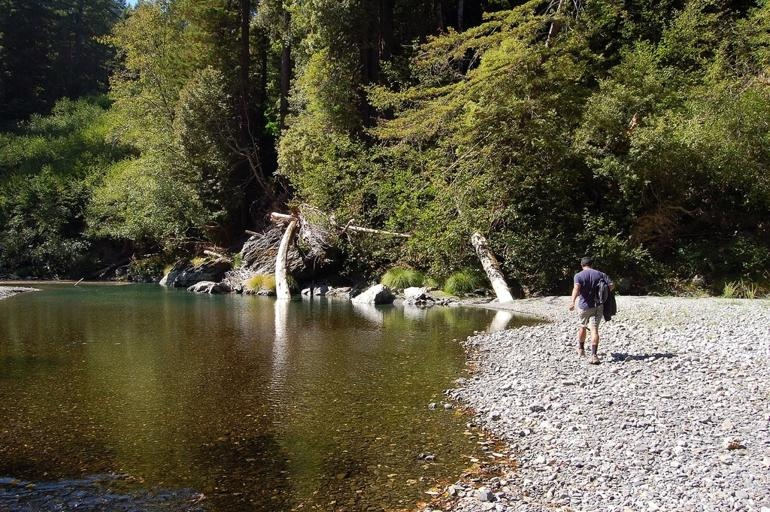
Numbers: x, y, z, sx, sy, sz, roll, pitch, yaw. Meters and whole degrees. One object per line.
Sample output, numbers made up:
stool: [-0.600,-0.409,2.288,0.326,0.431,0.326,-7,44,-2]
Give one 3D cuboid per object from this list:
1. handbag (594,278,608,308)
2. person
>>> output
handbag: [6.374,1.068,19.534,0.394,0.790,0.116,-2,1,-22]
person: [6.148,1.581,19.746,1.204,3.047,1.360,-2,1,16]
